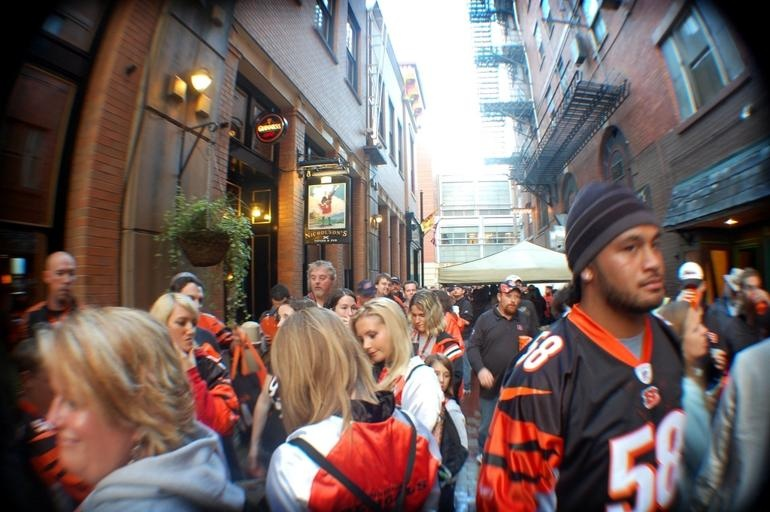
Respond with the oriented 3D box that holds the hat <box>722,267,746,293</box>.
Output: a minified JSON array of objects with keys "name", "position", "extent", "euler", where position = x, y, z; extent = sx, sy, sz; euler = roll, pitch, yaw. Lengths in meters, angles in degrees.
[{"name":"hat","position":[2.687,0.176,3.601],"extent":[0.169,0.100,0.190],"euler":[1,9,36]}]

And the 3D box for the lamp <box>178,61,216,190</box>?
[{"name":"lamp","position":[-2.519,-1.681,6.220],"extent":[0.503,1.586,0.307],"euler":[-1,11,-43]}]

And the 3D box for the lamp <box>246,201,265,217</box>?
[{"name":"lamp","position":[-2.620,-0.930,9.509],"extent":[0.290,0.298,0.536],"euler":[-10,2,-20]}]

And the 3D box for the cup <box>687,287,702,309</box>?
[{"name":"cup","position":[2.821,0.381,4.280],"extent":[0.122,0.210,0.131],"euler":[6,-17,2]}]

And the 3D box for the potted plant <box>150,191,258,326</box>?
[{"name":"potted plant","position":[-2.045,-0.195,5.247],"extent":[0.801,1.019,0.728],"euler":[-2,24,-26]}]

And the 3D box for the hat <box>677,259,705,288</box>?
[{"name":"hat","position":[2.827,0.133,4.357],"extent":[0.245,0.204,0.369],"euler":[3,5,22]}]

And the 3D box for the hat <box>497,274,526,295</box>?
[{"name":"hat","position":[2.011,0.425,7.530],"extent":[0.411,0.387,0.697],"euler":[6,-9,2]}]

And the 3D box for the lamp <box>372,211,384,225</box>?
[{"name":"lamp","position":[-0.261,-1.220,15.325],"extent":[0.296,0.471,0.352],"euler":[2,14,-10]}]

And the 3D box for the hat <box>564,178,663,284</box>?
[{"name":"hat","position":[1.545,-0.232,3.325],"extent":[0.620,0.647,0.665],"euler":[-11,-7,0]}]
